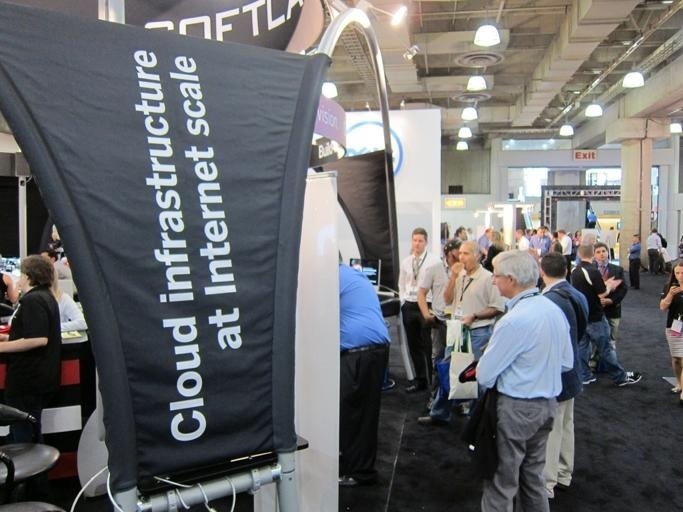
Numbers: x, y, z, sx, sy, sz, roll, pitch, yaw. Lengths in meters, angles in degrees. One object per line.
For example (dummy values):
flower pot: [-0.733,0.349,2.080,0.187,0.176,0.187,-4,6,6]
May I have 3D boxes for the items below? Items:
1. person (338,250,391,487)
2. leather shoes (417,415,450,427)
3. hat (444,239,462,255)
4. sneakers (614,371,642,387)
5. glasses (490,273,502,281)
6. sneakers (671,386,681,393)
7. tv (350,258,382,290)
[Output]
person: [0.148,0.784,3.763,0.326,1.478,0.204,0,7,0]
leather shoes: [0.779,1.371,4.764,0.265,0.091,0.087,0,7,6]
hat: [0.981,-0.092,4.977,0.126,0.141,0.107,15,5,-9]
sneakers: [2.987,1.262,5.836,0.361,0.156,0.126,7,-10,-17]
glasses: [0.848,0.111,3.076,0.058,0.019,0.058,11,-6,-9]
sneakers: [3.219,1.281,5.437,0.109,0.047,0.037,1,2,26]
tv: [0.278,0.158,6.082,0.275,0.425,0.368,-2,0,-19]
